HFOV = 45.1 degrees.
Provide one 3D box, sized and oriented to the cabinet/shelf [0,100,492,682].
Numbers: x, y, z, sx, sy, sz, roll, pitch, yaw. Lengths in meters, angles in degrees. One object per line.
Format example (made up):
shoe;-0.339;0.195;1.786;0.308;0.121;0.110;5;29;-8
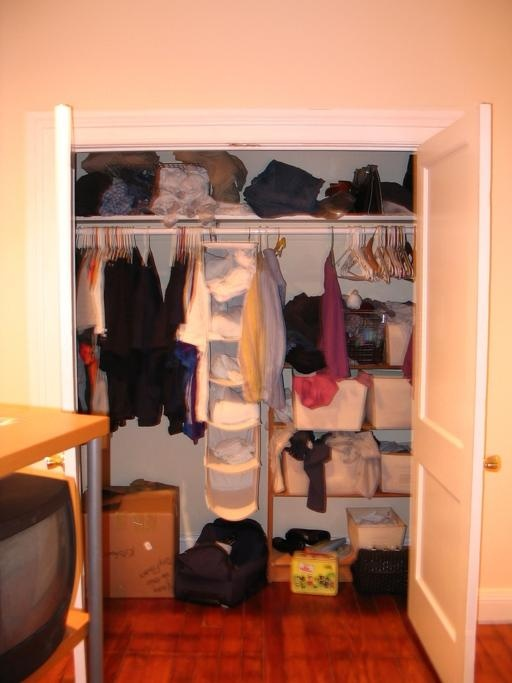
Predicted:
cabinet/shelf;0.012;0.218;2.138;1.587;2.062;0.950;-4;11;-13
